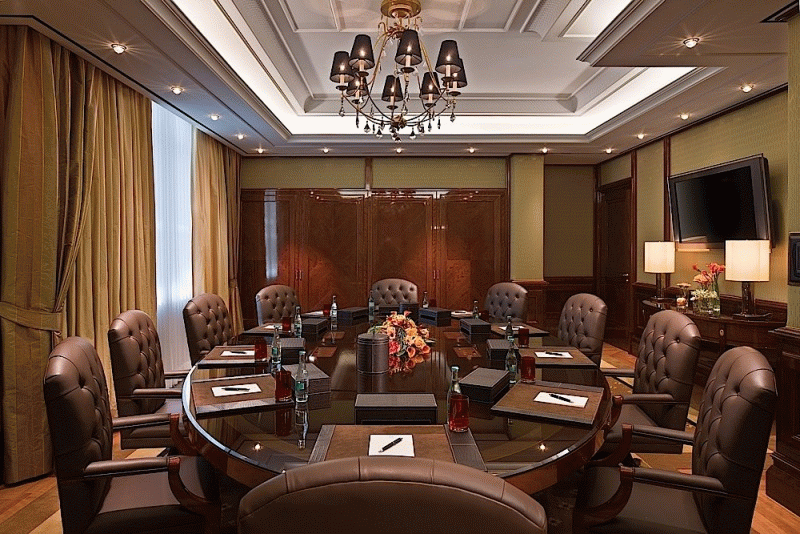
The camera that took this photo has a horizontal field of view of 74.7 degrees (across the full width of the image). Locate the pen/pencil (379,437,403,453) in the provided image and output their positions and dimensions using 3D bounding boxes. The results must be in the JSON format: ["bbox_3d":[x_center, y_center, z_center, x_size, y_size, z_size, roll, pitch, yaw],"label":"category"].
[{"bbox_3d":[-0.042,0.848,2.480,0.014,0.015,0.108,9,17,39],"label":"pen/pencil"}]

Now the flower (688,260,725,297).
[{"bbox_3d":[3.231,0.131,5.390,0.337,0.394,0.343,0,-3,-5],"label":"flower"}]

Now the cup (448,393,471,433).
[{"bbox_3d":[0.297,0.721,2.645,0.096,0.184,0.129,-1,2,6],"label":"cup"}]

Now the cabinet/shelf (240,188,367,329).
[{"bbox_3d":[-1.319,-0.110,7.773,2.050,2.101,0.720,4,14,16],"label":"cabinet/shelf"}]

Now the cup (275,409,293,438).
[{"bbox_3d":[-0.597,0.803,2.690,0.080,0.120,0.075,-1,-9,0],"label":"cup"}]

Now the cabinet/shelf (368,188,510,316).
[{"bbox_3d":[0.564,-0.236,7.808,2.013,2.016,0.725,2,23,8],"label":"cabinet/shelf"}]
